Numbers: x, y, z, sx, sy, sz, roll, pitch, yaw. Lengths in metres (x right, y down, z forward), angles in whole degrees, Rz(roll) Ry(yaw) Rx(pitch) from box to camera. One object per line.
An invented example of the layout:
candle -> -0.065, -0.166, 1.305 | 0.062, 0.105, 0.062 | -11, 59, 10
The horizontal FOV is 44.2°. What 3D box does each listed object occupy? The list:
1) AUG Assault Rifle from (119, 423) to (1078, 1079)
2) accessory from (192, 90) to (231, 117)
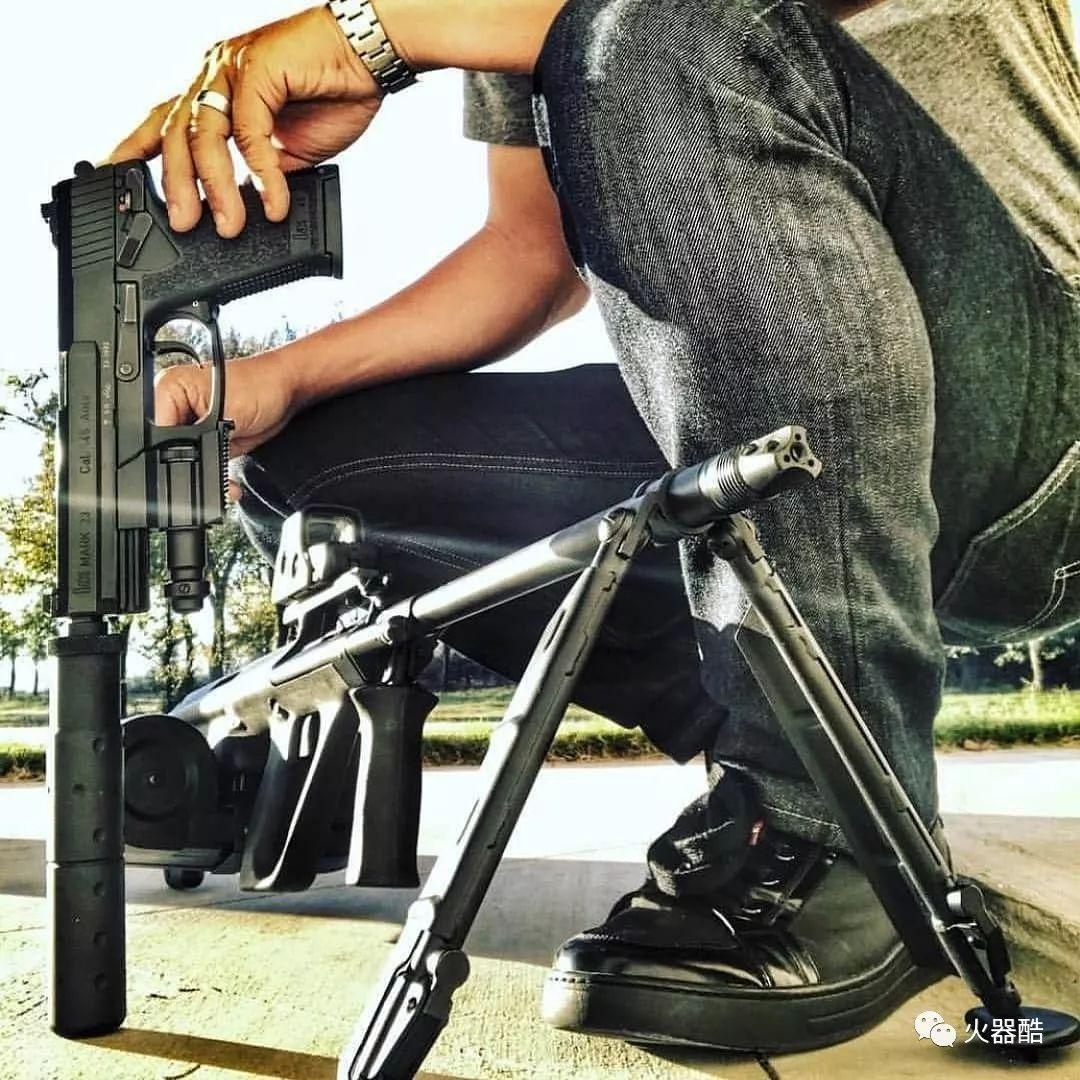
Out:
AUG Assault Rifle -> -0.092, 0.174, 1.133 | 0.539, 0.316, 0.705 | 10, -18, -42
accessory -> -0.286, -0.379, 1.154 | 0.033, 0.010, 0.029 | 17, 29, 7
